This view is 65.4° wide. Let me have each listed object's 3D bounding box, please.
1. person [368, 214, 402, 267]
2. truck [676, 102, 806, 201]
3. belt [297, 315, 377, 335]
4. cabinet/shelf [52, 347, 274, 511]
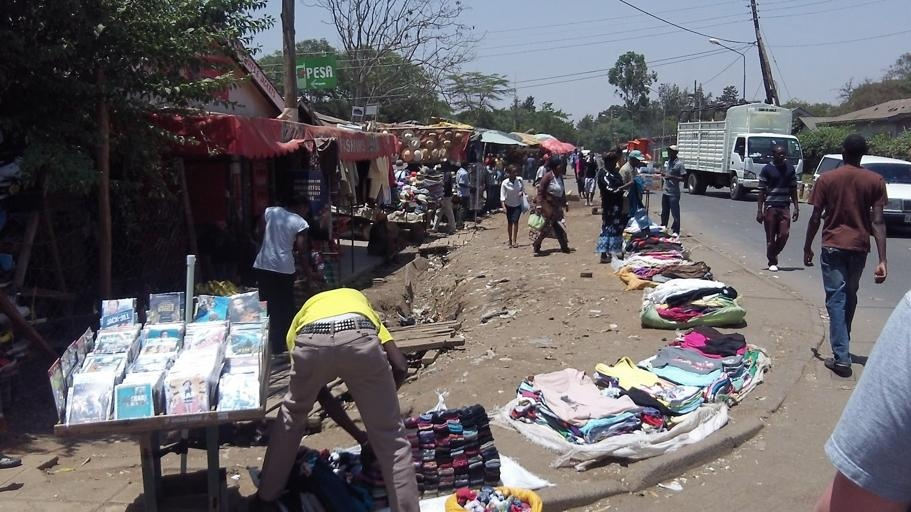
[{"bbox_3d":[-1.886,-0.518,18.552,0.652,1.360,0.737,-10,10,-29],"label":"person"},{"bbox_3d":[11.001,-4.059,27.459,2.936,3.366,6.623,3,10,-2],"label":"truck"},{"bbox_3d":[-1.252,0.725,7.513,0.789,0.167,0.160,-5,9,-5],"label":"belt"},{"bbox_3d":[-2.805,1.930,8.017,1.920,1.242,1.870,0,18,-1],"label":"cabinet/shelf"}]
